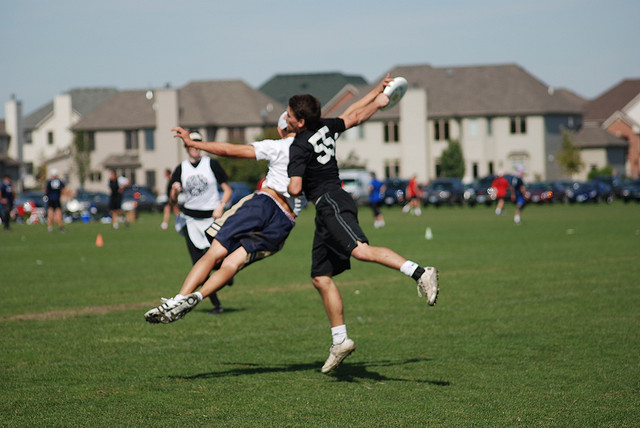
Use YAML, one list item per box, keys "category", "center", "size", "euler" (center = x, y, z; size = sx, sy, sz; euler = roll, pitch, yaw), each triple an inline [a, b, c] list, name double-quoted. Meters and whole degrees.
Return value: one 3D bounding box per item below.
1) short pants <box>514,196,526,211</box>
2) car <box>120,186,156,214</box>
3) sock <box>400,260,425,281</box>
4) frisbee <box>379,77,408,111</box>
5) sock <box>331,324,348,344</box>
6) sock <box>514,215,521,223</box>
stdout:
- category: "short pants"
  center: [3.414, -0.214, 19.021]
  size: [0.161, 0.212, 0.347]
  euler: [0, 15, 7]
- category: "car"
  center: [-8.656, -0.450, 53.025]
  size: [1.652, 1.078, 1.669]
  euler: [0, -4, -2]
- category: "sock"
  center: [1.257, 0.746, 15.140]
  size: [0.330, 0.201, 0.143]
  euler: [34, 0, 4]
- category: "frisbee"
  center: [1.119, -1.799, 16.584]
  size: [0.338, 0.474, 0.623]
  euler: [2, 15, 12]
- category: "sock"
  center: [0.275, 1.660, 15.593]
  size: [0.192, 0.222, 0.287]
  euler: [-1, 15, 0]
- category: "sock"
  center: [3.266, 0.076, 18.442]
  size: [0.102, 0.171, 0.107]
  euler: [-1, 2, 4]
